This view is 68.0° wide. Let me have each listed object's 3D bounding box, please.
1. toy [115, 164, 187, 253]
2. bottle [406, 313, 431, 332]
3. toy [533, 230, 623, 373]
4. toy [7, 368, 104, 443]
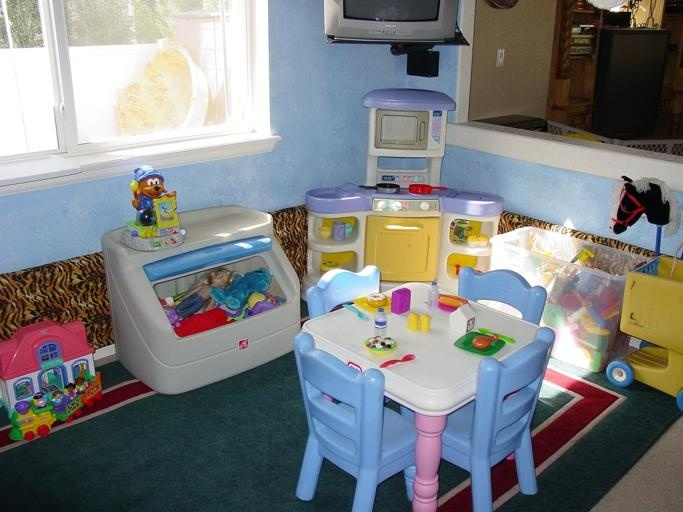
[{"bbox_3d":[-1.118,-0.284,2.959,0.356,0.441,0.250,-5,22,-13],"label":"toy"},{"bbox_3d":[0.351,0.304,2.316,0.058,0.057,0.033,13,26,31],"label":"bottle"},{"bbox_3d":[1.578,0.334,3.331,0.718,0.515,0.499,11,14,29],"label":"toy"},{"bbox_3d":[-1.572,0.801,2.834,0.492,0.244,0.254,-24,37,-38],"label":"toy"}]
